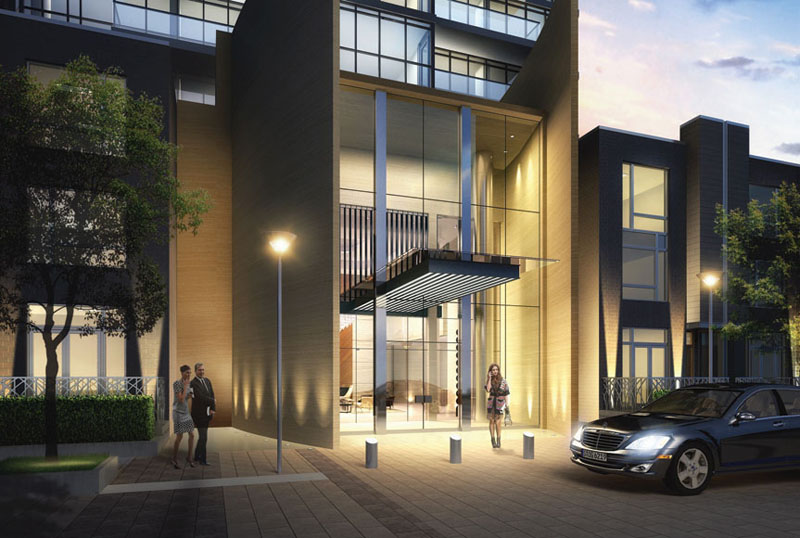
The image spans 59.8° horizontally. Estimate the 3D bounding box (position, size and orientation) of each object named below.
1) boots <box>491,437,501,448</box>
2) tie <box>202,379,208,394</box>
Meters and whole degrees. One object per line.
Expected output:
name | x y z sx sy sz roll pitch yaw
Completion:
boots | 2.996 5.453 21.667 0.254 0.354 0.359 0 -16 -2
tie | -5.309 3.245 18.974 0.183 0.328 0.073 1 -20 -39
